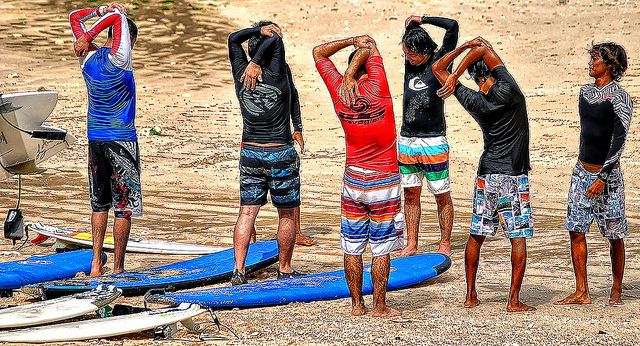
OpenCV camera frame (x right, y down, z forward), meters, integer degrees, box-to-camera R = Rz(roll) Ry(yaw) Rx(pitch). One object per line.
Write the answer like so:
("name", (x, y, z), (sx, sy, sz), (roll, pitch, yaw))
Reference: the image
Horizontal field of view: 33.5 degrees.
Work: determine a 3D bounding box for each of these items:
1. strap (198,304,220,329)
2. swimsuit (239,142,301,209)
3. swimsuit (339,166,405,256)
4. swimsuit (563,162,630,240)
("strap", (-2.208, 2.667, 20.005), (0.189, 0.330, 0.446), (-39, 47, -3))
("swimsuit", (-1.049, 0.049, 21.438), (1.247, 1.380, 0.293), (-5, 9, -3))
("swimsuit", (0.941, 0.713, 20.269), (1.236, 1.705, 0.374), (-5, 9, 1))
("swimsuit", (5.321, 0.535, 20.674), (1.133, 1.504, 0.376), (-3, 9, 9))
